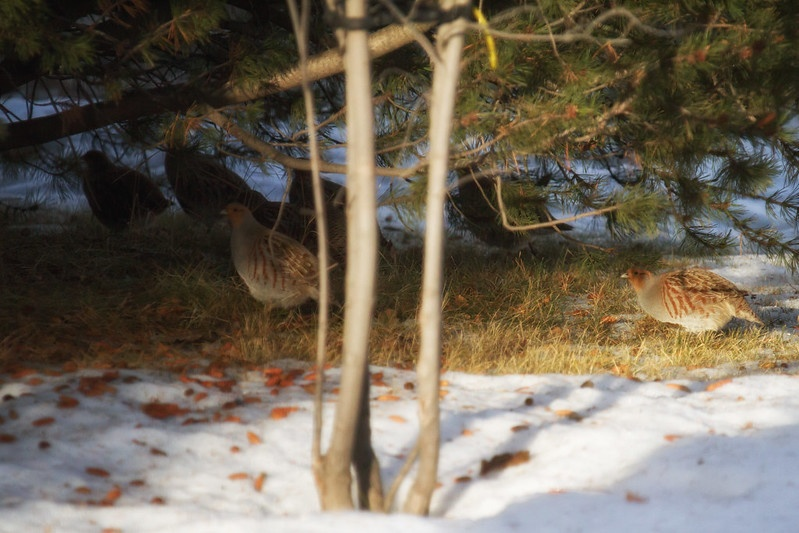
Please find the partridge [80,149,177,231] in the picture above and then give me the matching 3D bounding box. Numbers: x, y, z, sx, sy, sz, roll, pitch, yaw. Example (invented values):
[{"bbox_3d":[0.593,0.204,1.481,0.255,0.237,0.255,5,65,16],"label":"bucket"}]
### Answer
[{"bbox_3d":[-3.091,-0.827,11.630,0.681,0.928,1.093,-10,11,-27],"label":"partridge"}]
